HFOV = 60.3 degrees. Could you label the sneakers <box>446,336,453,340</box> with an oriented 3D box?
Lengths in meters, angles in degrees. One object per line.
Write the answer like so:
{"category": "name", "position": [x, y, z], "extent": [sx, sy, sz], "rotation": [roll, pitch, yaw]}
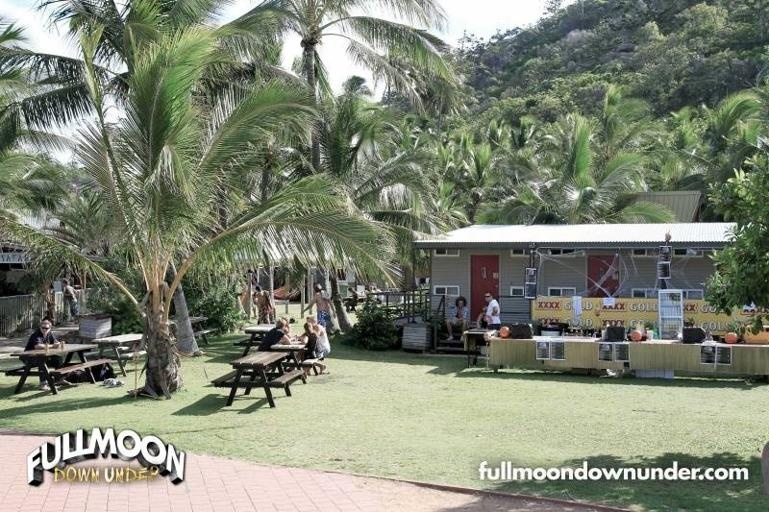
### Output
{"category": "sneakers", "position": [2.287, 2.721, 22.602], "extent": [0.217, 0.149, 0.338], "rotation": [-1, -6, 10]}

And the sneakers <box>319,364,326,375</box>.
{"category": "sneakers", "position": [-1.704, 3.149, 18.939], "extent": [0.185, 0.253, 0.624], "rotation": [1, -6, -7]}

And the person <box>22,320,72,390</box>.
{"category": "person", "position": [-8.524, 2.381, 16.727], "extent": [1.132, 1.690, 0.795], "rotation": [4, 9, 28]}
